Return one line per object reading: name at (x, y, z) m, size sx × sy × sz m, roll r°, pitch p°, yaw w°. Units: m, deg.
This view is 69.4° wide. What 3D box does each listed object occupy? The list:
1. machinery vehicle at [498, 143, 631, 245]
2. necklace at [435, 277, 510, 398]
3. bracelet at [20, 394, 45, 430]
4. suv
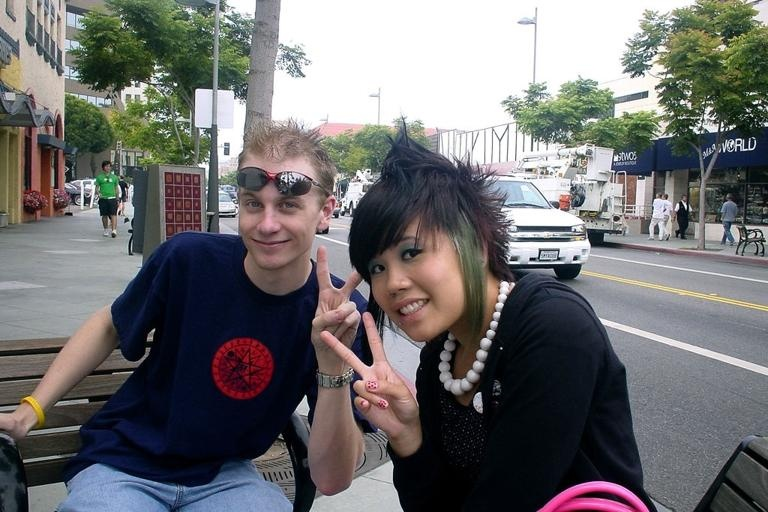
machinery vehicle at (7.544, -2.942, 23.442) m, size 2.277 × 3.498 × 6.445 m, roll -14°, pitch 13°, yaw -18°
necklace at (0.350, 0.320, 2.118) m, size 0.088 × 0.413 × 0.331 m, roll 12°, pitch 8°, yaw -34°
bracelet at (-1.483, 0.666, 2.343) m, size 0.073 × 0.186 × 0.149 m, roll -3°, pitch 9°, yaw -35°
suv at (3.242, -0.722, 11.030) m, size 2.189 × 1.755 × 3.558 m, roll -1°, pitch 2°, yaw -13°
